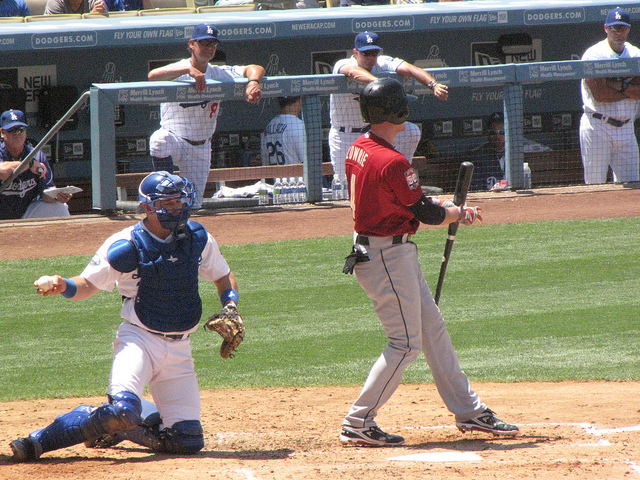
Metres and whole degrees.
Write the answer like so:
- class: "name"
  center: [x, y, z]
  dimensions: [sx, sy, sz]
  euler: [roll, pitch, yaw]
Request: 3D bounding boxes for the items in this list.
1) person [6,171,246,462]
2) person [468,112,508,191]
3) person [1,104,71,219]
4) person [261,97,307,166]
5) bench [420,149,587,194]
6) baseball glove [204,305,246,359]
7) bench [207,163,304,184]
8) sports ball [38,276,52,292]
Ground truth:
- class: "person"
  center: [-1.531, 0.660, 12.395]
  dimensions: [1.716, 2.485, 0.595]
  euler: [-2, 3, -11]
- class: "person"
  center: [2.592, -1.371, 21.221]
  dimensions: [0.428, 1.154, 0.587]
  euler: [-11, 18, 6]
- class: "person"
  center: [-3.510, -0.847, 17.232]
  dimensions: [0.776, 1.390, 0.893]
  euler: [22, 32, 40]
- class: "person"
  center: [-0.375, -1.449, 20.041]
  dimensions: [0.622, 1.003, 0.617]
  euler: [23, 28, 40]
- class: "bench"
  center: [2.701, -1.125, 21.304]
  dimensions: [2.538, 0.419, 0.436]
  euler: [-1, -15, 4]
- class: "baseball glove"
  center: [-0.771, 0.800, 12.420]
  dimensions: [0.374, 0.447, 0.241]
  euler: [38, -2, -19]
- class: "bench"
  center: [-0.846, -0.899, 19.480]
  dimensions: [1.067, 0.086, 0.317]
  euler: [-4, 17, -14]
- class: "sports ball"
  center: [-2.303, 0.381, 12.139]
  dimensions: [0.121, 0.087, 0.125]
  euler: [-16, -7, -2]
